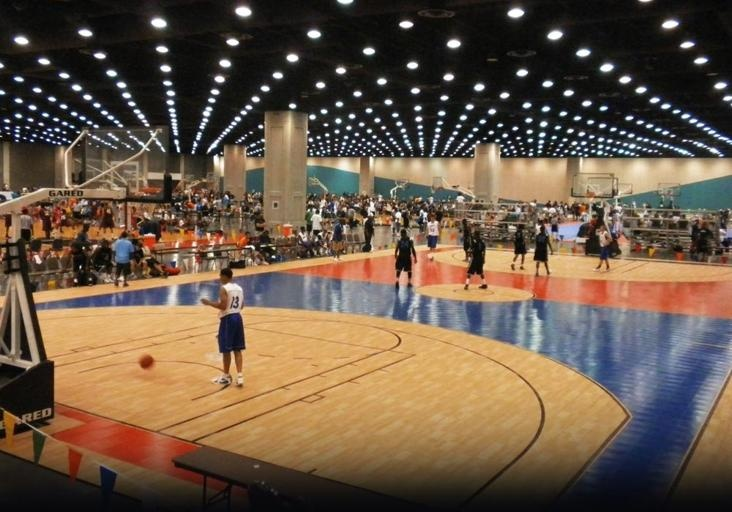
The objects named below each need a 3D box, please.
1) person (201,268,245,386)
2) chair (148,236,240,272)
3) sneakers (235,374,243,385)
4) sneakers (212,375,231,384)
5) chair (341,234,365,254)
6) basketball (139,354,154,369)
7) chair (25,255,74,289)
[{"bbox_3d":[-2.671,1.294,9.954,0.641,2.049,1.561,-1,9,-17],"label":"person"},{"bbox_3d":[-7.017,0.107,21.537,3.620,1.196,2.333,-2,9,-23],"label":"chair"},{"bbox_3d":[-2.310,2.274,9.499,0.110,0.199,0.192,0,9,-10],"label":"sneakers"},{"bbox_3d":[-2.645,2.288,9.556,0.394,0.166,0.137,3,2,8],"label":"sneakers"},{"bbox_3d":[-0.776,-0.695,29.699,1.129,1.010,1.093,0,-1,-2],"label":"chair"},{"bbox_3d":[-4.332,2.093,10.192,0.264,0.246,0.256,-2,9,-21],"label":"basketball"},{"bbox_3d":[-9.986,0.560,16.362,0.399,0.705,1.114,2,6,33],"label":"chair"}]
